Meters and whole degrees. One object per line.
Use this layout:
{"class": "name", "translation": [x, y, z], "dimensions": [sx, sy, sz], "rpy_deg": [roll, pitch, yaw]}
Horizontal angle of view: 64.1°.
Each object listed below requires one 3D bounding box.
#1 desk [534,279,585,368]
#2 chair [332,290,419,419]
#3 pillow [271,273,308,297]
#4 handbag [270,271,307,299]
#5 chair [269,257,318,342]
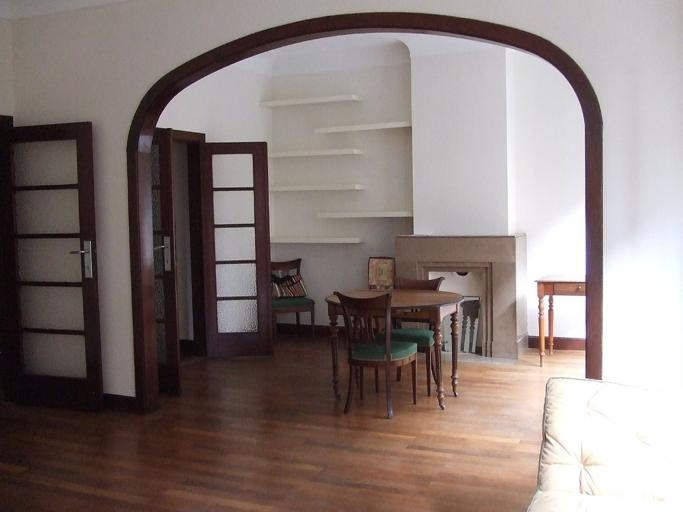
{"class": "desk", "translation": [2.420, 0.677, 6.079], "dimensions": [0.461, 0.925, 0.733], "rpy_deg": [2, 8, 21]}
{"class": "chair", "translation": [0.343, 0.769, 5.287], "dimensions": [0.772, 1.158, 1.629], "rpy_deg": [0, 7, 8]}
{"class": "pillow", "translation": [-0.697, 0.394, 7.232], "dimensions": [0.300, 0.339, 0.122], "rpy_deg": [-3, -22, -3]}
{"class": "handbag", "translation": [-0.698, 0.371, 7.248], "dimensions": [0.308, 0.352, 0.124], "rpy_deg": [-2, -22, -3]}
{"class": "chair", "translation": [-0.715, 0.553, 7.170], "dimensions": [0.522, 0.980, 0.602], "rpy_deg": [-5, 6, -22]}
